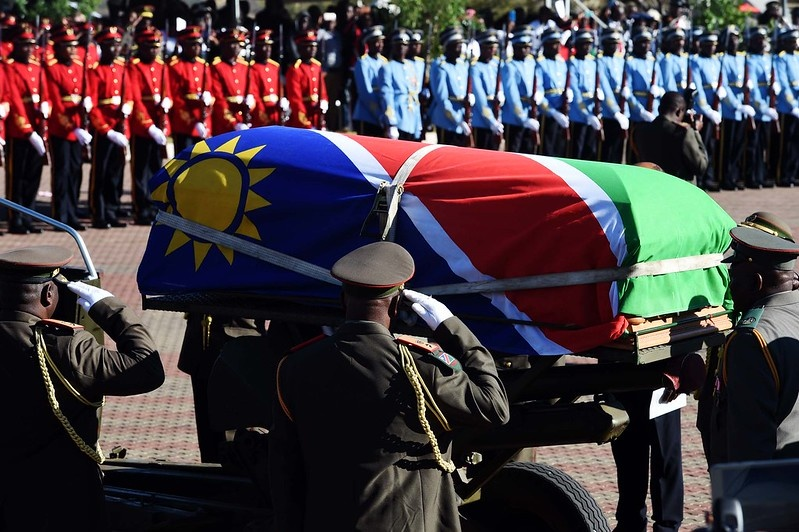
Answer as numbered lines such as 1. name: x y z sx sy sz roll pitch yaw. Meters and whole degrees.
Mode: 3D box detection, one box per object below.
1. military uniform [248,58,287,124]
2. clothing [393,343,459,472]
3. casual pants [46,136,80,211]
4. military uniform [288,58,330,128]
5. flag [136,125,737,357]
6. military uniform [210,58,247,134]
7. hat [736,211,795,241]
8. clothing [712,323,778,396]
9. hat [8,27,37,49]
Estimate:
1. military uniform: -1.522 -2.006 15.902 0.260 0.768 0.650 1 4 33
2. clothing: 0.200 0.789 7.568 0.237 0.738 0.046 -26 7 34
3. casual pants: -3.563 -0.915 14.645 0.407 0.876 0.327 -3 4 -36
4. military uniform: -1.102 -2.036 16.234 0.464 0.850 0.428 -1 3 -3
5. flag: 0.130 -0.276 8.714 3.004 0.806 1.642 4 4 20
6. military uniform: -1.918 -1.899 15.496 0.216 0.848 0.557 2 5 42
7. hat: 2.296 -0.207 8.511 0.280 0.074 0.231 8 9 -29
8. clothing: 1.994 0.550 7.956 0.171 0.389 0.376 -4 5 -42
9. hat: -3.928 -2.379 14.261 0.246 0.215 0.262 -2 3 -19
